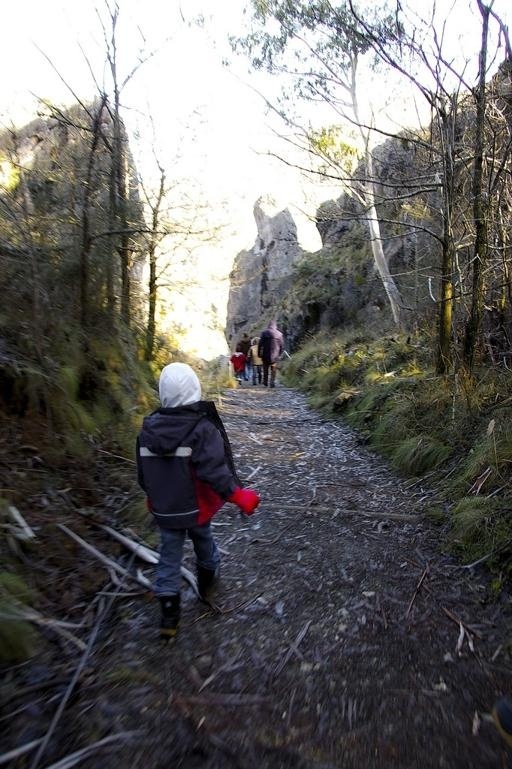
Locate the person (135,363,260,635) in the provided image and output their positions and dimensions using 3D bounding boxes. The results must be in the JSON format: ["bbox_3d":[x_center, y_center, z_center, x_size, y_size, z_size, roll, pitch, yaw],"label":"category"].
[{"bbox_3d":[-0.330,0.544,2.291,0.552,1.308,0.408,-3,6,-20],"label":"person"}]

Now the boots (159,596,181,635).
[{"bbox_3d":[-0.427,1.119,2.136,0.087,0.198,0.089,-2,6,-11],"label":"boots"}]
